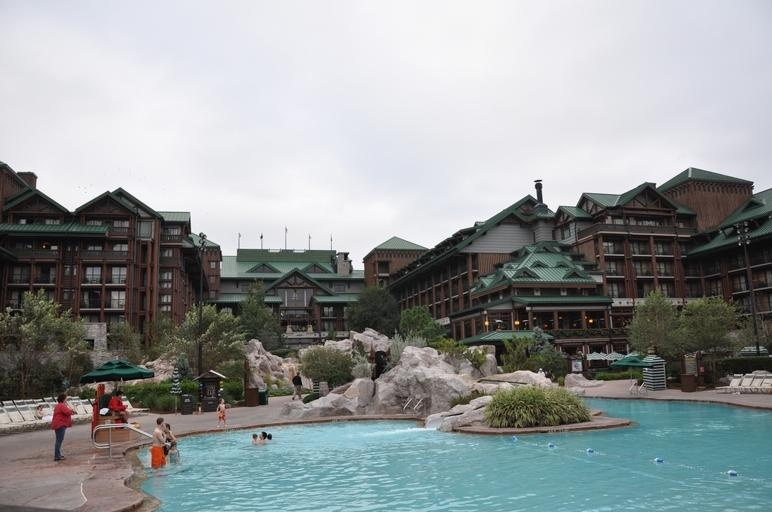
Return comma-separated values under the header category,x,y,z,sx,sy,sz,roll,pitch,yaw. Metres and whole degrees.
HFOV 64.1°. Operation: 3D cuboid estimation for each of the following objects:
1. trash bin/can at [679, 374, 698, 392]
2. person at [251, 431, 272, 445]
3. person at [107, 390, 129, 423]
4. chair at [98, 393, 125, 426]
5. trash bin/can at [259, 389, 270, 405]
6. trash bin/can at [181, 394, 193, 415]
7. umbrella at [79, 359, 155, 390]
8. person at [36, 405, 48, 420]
category,x,y,z,sx,sy,sz,roll,pitch,yaw
trash bin/can,20.011,8.413,40.740,0.794,1.091,0.651,-4,-11,12
person,-5.795,8.506,28.761,0.876,0.531,0.911,1,-12,-13
person,-12.350,6.934,28.321,0.700,1.443,1.272,3,-12,-24
chair,-12.646,7.122,28.483,1.073,1.822,1.247,5,-2,-7
trash bin/can,-9.325,10.778,46.795,0.638,1.064,1.160,1,-12,-14
trash bin/can,-13.212,9.867,40.915,0.650,1.211,0.425,2,-12,-21
umbrella,-14.166,6.034,32.326,1.947,1.175,3.139,-9,-13,29
person,-18.526,8.439,33.082,0.568,0.950,0.590,-1,-7,5
